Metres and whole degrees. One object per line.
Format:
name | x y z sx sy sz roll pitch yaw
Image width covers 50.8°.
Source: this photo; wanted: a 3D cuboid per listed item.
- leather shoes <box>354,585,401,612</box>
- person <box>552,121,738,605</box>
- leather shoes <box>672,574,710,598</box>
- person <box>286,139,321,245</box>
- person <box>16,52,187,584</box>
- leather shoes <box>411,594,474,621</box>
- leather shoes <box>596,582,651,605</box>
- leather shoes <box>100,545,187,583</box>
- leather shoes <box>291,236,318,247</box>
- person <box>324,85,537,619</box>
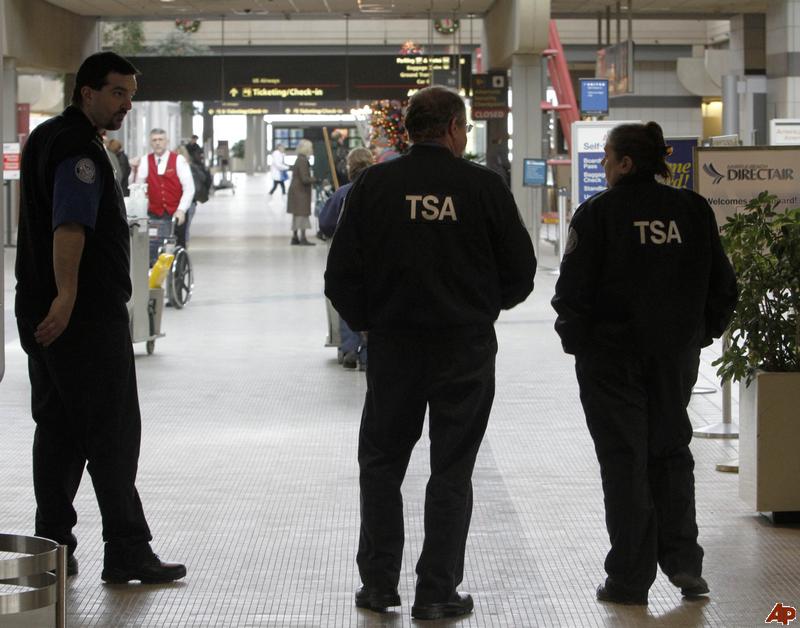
leather shoes | -0.086 1.070 3.222 0.073 0.086 0.181 -3 5 -41
person | 0.961 0.297 3.325 0.718 1.603 0.369 1 6 6
leather shoes | 1.129 1.060 3.283 0.064 0.074 0.157 -15 -39 38
person | -2.346 -2.903 20.055 0.582 2.517 1.544 0 6 -6
person | -1.247 0.032 3.369 0.656 2.128 0.394 2 6 18
leather shoes | 0.158 1.082 3.160 0.229 0.099 0.083 -2 5 -34
leather shoes | 0.862 1.076 3.249 0.182 0.082 0.081 7 -1 10
leather shoes | -1.056 1.023 3.515 0.327 0.177 0.134 0 -1 -10
leather shoes | -2.283 -1.722 20.136 0.226 0.297 0.690 0 4 26
person | 0.103 0.140 3.161 0.772 1.965 0.355 1 6 9
